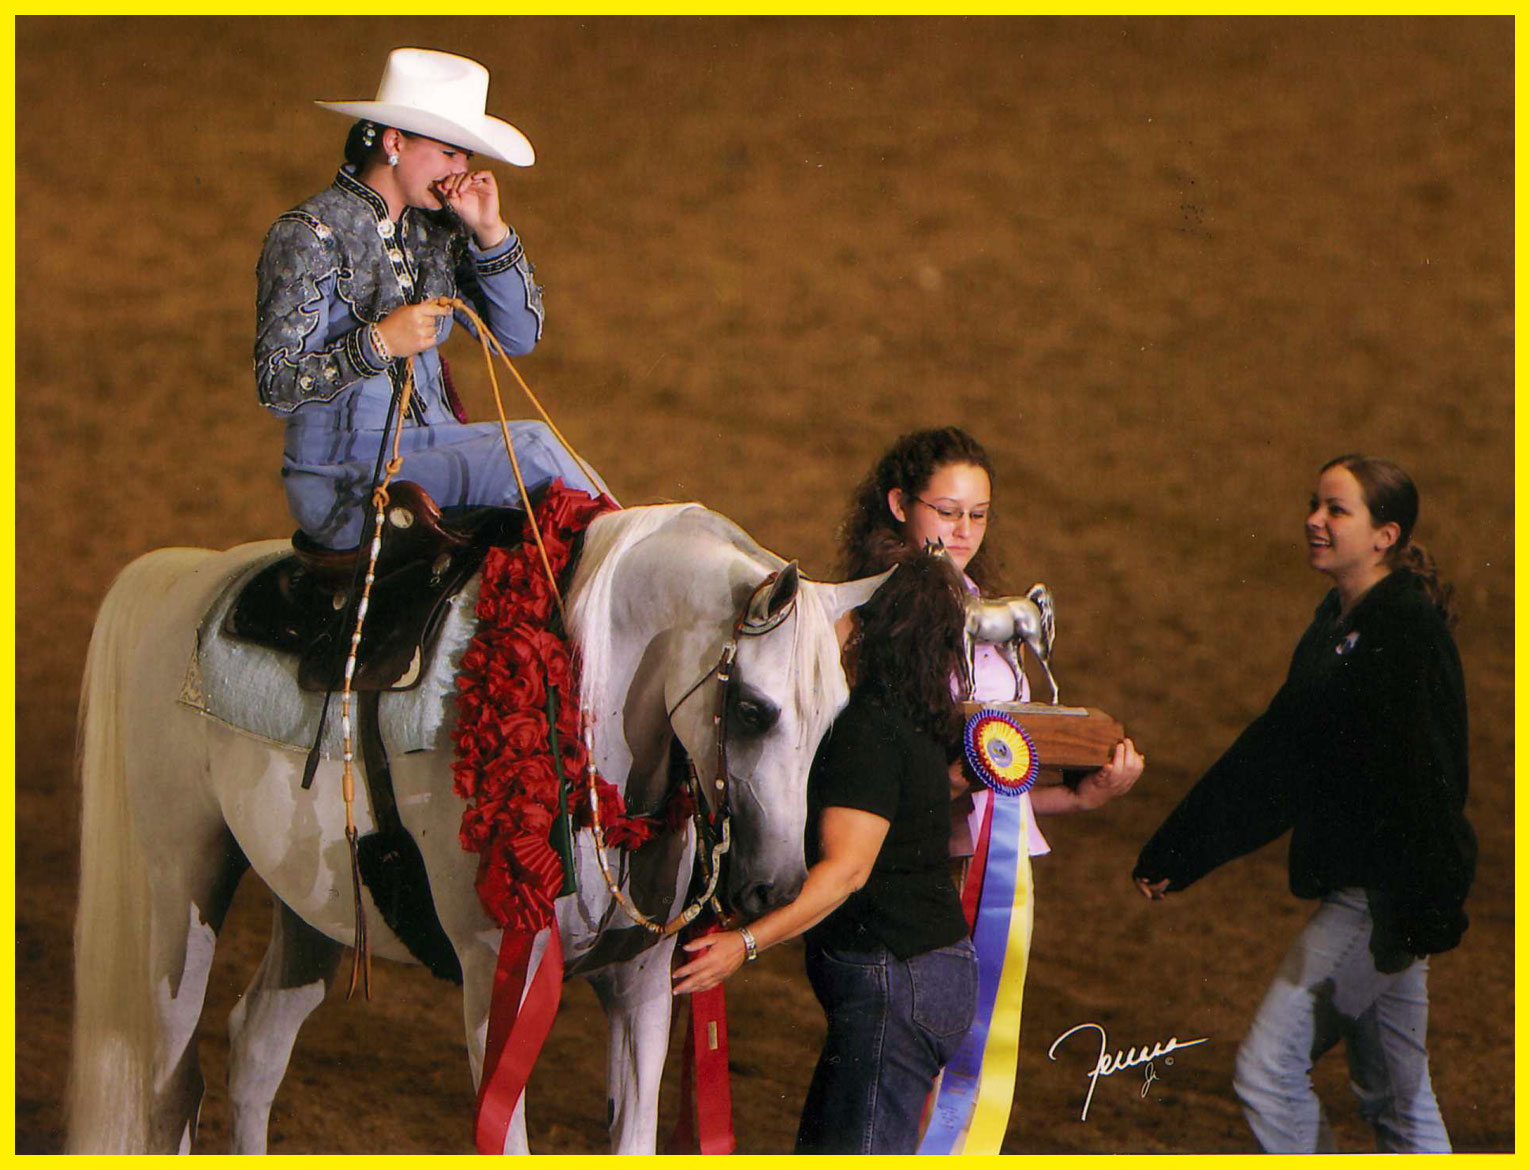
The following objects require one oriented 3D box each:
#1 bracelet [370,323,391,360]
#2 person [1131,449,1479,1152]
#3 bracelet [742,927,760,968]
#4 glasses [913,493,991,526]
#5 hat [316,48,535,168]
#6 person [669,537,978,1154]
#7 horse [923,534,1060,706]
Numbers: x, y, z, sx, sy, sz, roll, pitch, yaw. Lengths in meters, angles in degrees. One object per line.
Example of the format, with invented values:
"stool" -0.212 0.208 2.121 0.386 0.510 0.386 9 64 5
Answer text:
"bracelet" -0.930 -0.588 6.826 0.025 0.067 0.071 -4 1 24
"person" 1.465 0.579 7.393 0.795 1.832 0.404 6 4 19
"bracelet" -0.036 0.847 6.678 0.041 0.084 0.110 4 3 0
"glasses" 0.480 -0.190 7.046 0.198 0.057 0.079 2 4 -28
"hat" -0.862 -1.232 7.054 0.588 0.204 0.474 12 17 -6
"person" 0.212 0.637 6.742 0.629 1.446 0.297 4 4 -3
"horse" 0.540 0.116 6.960 0.490 0.353 0.124 7 -9 -41
